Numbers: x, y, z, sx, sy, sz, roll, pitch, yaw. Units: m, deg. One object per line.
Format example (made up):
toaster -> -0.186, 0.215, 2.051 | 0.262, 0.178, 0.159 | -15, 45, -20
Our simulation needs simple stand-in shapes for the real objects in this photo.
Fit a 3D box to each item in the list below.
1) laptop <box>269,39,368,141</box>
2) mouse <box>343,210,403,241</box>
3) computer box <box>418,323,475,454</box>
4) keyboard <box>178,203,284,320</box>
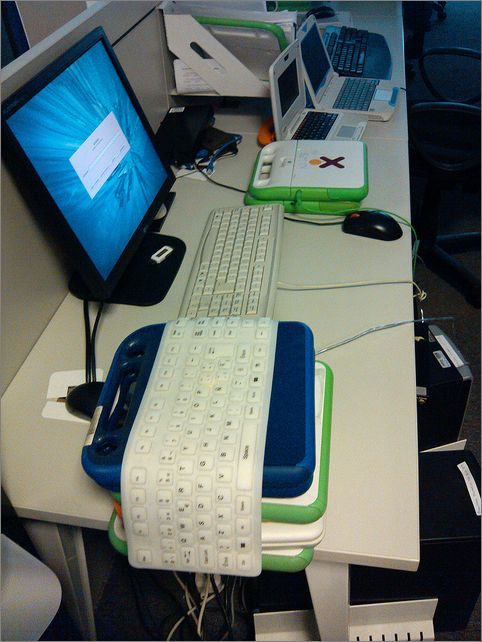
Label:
laptop -> 0.195, -0.532, 1.367 | 0.237, 0.215, 0.327 | 2, 52, 11
mouse -> 0.256, -0.185, 1.030 | 0.095, 0.031, 0.057 | 14, 49, 18
computer box -> 0.448, 0.157, 1.230 | 0.123, 0.271, 0.202 | -1, 45, 7
keyboard -> -0.005, -0.060, 1.013 | 0.166, 0.061, 0.355 | 2, 50, 7
